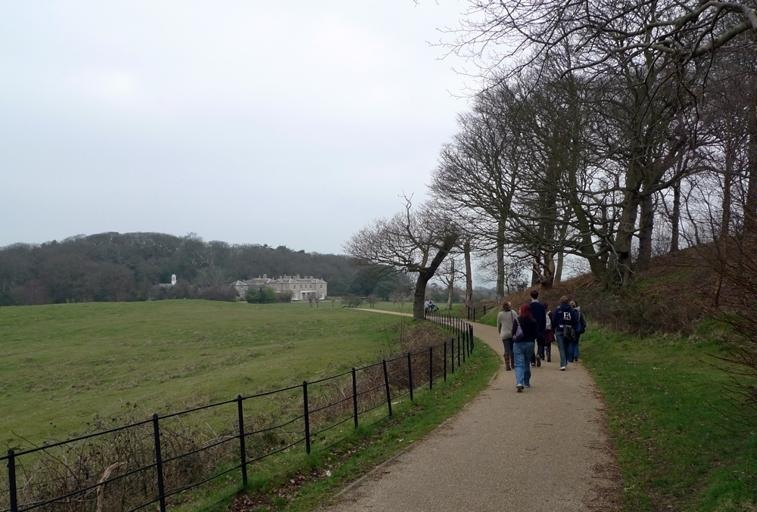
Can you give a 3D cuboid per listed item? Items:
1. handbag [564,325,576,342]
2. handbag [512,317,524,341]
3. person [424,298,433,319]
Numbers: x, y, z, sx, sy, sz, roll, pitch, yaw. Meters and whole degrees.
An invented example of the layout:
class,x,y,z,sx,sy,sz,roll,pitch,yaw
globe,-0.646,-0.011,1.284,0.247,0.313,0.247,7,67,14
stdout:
class,x,y,z,sx,sy,sz,roll,pitch,yaw
handbag,6.424,2.573,19.380,0.267,0.459,0.617,0,-5,31
handbag,3.958,2.100,16.401,0.228,0.610,0.277,5,-5,-34
person,5.198,5.112,61.146,0.906,1.871,1.068,-5,15,4
